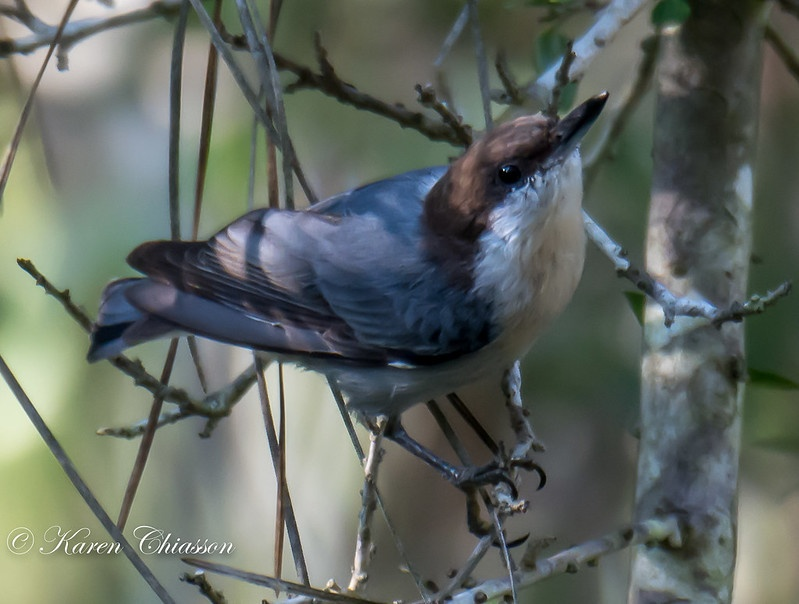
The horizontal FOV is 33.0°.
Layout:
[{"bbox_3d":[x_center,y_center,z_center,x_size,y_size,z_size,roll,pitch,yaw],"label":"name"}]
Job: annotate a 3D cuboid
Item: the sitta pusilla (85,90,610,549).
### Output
[{"bbox_3d":[-0.178,0.014,4.503,1.433,0.512,1.126,9,-87,11],"label":"sitta pusilla"}]
